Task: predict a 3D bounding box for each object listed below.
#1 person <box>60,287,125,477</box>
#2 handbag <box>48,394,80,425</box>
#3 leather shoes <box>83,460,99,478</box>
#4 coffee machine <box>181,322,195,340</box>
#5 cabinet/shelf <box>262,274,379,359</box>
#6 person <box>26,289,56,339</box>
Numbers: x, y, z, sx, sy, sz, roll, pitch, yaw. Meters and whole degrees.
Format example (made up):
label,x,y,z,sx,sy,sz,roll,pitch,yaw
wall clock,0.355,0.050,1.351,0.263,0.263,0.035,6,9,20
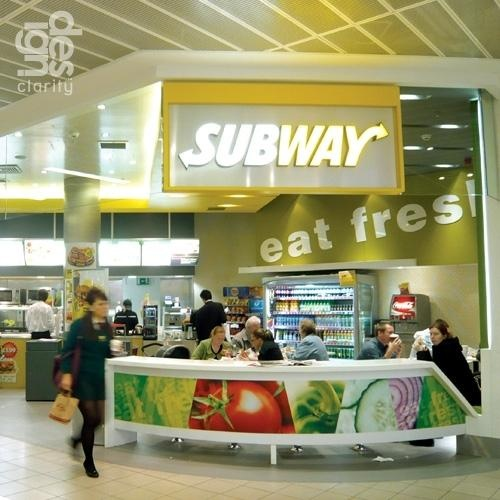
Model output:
label,x,y,z,sx,sy,sz,roll,pitch,yaw
person,-1.373,1.101,4.179,0.469,1.578,0.307,2,-9,-14
handbag,-1.534,1.326,4.124,0.217,0.274,0.197,2,-9,-11
leather shoes,-1.316,1.832,4.125,0.068,0.081,0.206,7,-14,-29
coffee machine,-1.161,1.491,9.161,0.336,0.350,0.237,-1,-2,3
cabinet/shelf,1.202,1.440,9.776,1.687,1.401,0.616,1,-26,2
person,-3.641,1.112,8.683,0.439,0.875,0.673,4,-9,-21
